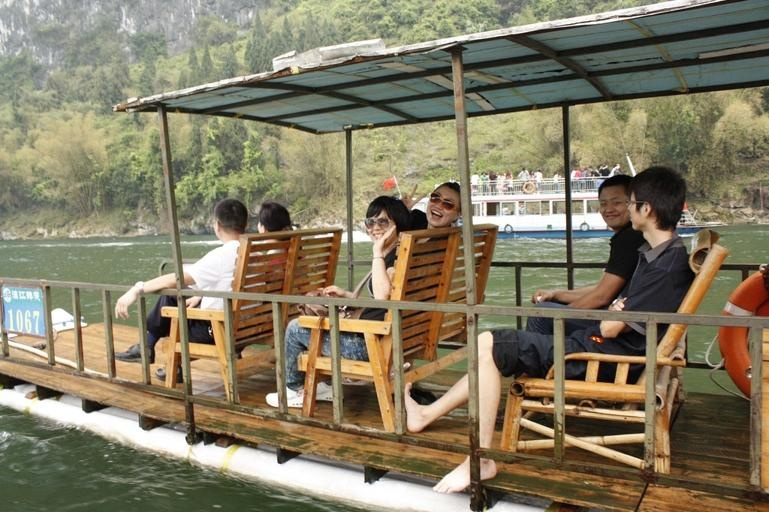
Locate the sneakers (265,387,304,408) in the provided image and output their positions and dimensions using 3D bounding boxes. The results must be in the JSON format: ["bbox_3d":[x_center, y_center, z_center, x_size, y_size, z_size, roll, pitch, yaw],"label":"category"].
[{"bbox_3d":[-0.935,1.264,5.781,0.411,0.188,0.171,2,0,35],"label":"sneakers"}]

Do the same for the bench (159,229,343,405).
[{"bbox_3d":[-1.275,0.456,6.666,1.394,1.328,1.781,-4,7,22],"label":"bench"}]

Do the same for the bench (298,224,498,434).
[{"bbox_3d":[0.107,0.645,5.431,0.896,1.155,1.891,1,2,28],"label":"bench"}]

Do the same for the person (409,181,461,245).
[{"bbox_3d":[0.567,-0.448,6.600,0.528,0.694,0.245,4,43,2],"label":"person"}]

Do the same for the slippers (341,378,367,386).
[{"bbox_3d":[-0.296,1.229,6.291,0.139,0.030,0.153,0,0,-17],"label":"slippers"}]
